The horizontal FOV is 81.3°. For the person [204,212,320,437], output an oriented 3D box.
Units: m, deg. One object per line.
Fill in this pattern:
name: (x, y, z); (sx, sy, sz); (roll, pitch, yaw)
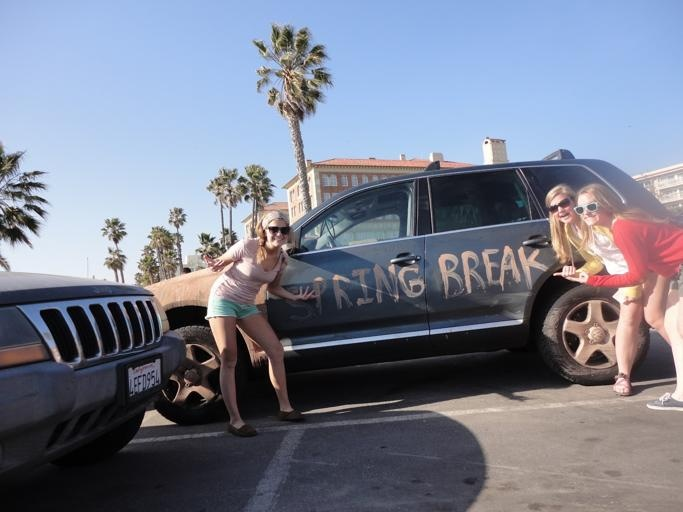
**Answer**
person: (-0.796, 0.593, 3.626); (0.844, 1.948, 0.443); (-4, -3, -9)

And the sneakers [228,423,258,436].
sneakers: (-0.869, 1.503, 3.505); (0.204, 0.073, 0.115); (-3, -6, 24)

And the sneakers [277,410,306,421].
sneakers: (-0.477, 1.482, 3.746); (0.198, 0.072, 0.112); (-2, -7, 10)

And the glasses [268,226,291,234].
glasses: (-0.555, -0.227, 3.551); (0.209, 0.088, 0.107); (-3, -4, -25)

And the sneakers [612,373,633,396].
sneakers: (2.575, 1.181, 3.611); (0.104, 0.115, 0.277); (-5, -11, 20)
